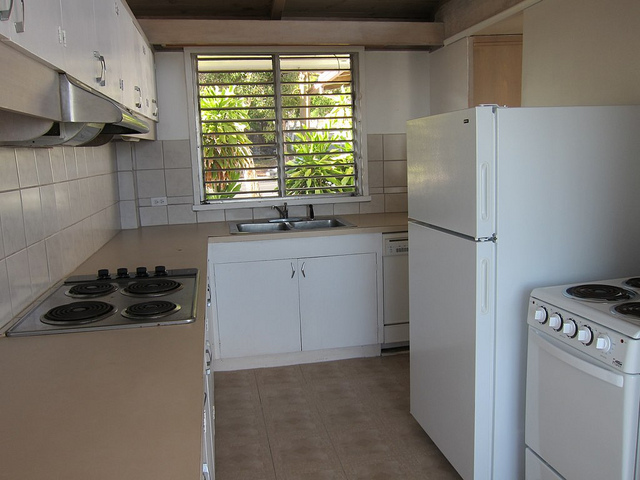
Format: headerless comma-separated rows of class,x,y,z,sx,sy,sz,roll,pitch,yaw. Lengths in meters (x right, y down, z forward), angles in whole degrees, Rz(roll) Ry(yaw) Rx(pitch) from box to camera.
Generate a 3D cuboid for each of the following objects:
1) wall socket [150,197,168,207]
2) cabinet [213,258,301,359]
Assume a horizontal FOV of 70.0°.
wall socket,-1.393,-0.338,3.970,0.124,0.078,0.032,-3,4,-5
cabinet,-0.496,0.483,3.442,0.701,0.889,0.497,-1,15,-10
